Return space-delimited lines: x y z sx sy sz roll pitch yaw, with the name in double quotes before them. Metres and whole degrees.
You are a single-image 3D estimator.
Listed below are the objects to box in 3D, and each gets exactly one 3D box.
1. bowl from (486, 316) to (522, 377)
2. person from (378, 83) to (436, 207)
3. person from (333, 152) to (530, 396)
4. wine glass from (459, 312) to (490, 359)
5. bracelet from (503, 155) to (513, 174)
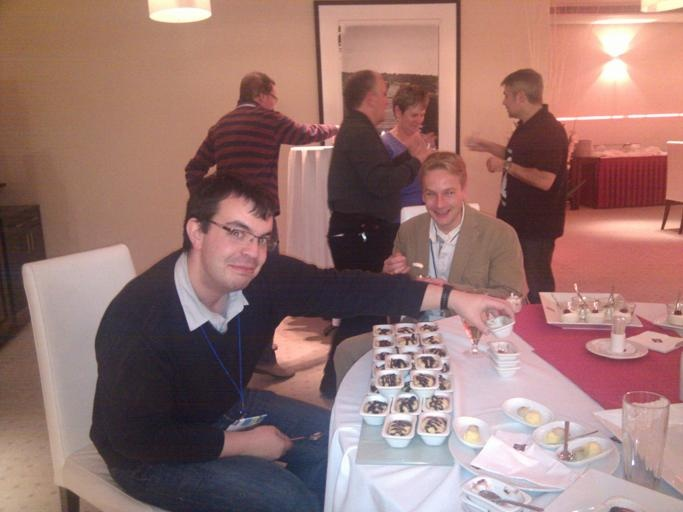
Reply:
"bowl" 0.537 0.295 1.797 0.087 0.049 0.208 -2 30 8
"person" 0.390 -0.538 3.511 0.315 0.870 0.276 7 31 7
"person" 0.394 0.243 2.589 0.926 1.335 0.831 -1 13 0
"wine glass" 0.472 0.295 1.965 0.124 0.162 0.123 0 5 1
"bracelet" 1.099 -0.599 3.599 0.060 0.104 0.028 6 -14 35
